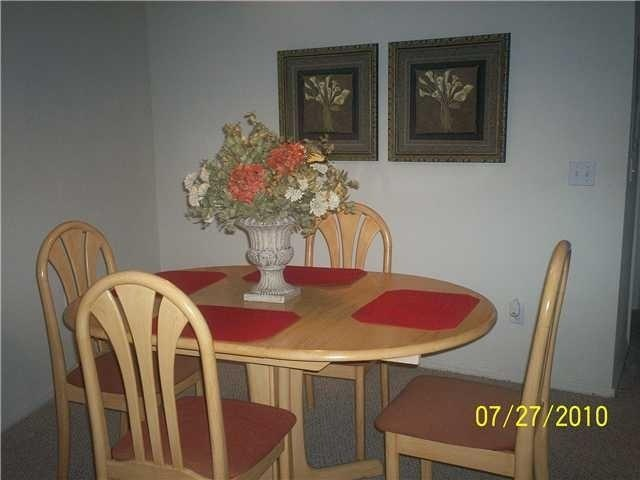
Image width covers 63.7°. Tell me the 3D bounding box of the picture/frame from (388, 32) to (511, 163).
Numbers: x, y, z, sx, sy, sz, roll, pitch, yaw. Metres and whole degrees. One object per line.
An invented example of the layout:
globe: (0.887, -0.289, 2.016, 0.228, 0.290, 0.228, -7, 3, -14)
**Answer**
picture/frame: (0.795, -0.863, 3.049, 0.744, 0.799, 0.056, 2, 9, 22)

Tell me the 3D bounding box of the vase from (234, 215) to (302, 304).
vase: (-0.160, 0.064, 2.083, 0.274, 0.328, 0.278, 1, 16, 7)

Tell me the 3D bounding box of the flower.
flower: (-0.235, -0.229, 2.089, 0.559, 0.365, 0.507, 2, 15, -9)
